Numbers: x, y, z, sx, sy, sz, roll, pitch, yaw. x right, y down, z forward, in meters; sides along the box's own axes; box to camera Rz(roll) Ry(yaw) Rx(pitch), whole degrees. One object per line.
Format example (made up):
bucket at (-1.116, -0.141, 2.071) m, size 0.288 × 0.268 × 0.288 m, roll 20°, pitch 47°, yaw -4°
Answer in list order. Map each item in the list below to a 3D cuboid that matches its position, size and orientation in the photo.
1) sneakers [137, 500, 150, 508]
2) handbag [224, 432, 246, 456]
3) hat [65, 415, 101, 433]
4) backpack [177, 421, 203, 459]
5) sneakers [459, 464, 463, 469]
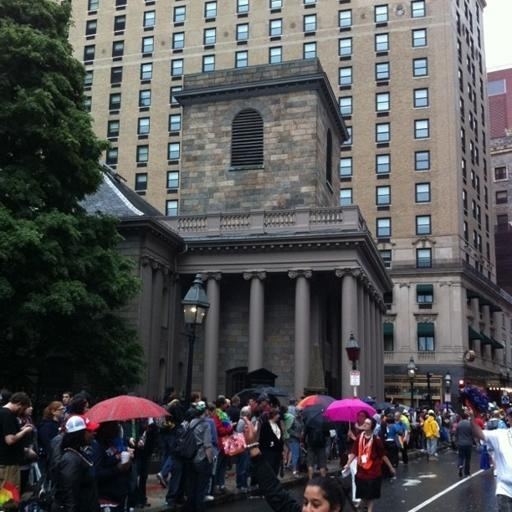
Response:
sneakers at (-2.224, 4.926, 17.206) m, size 0.175 × 0.152 × 0.555 m, roll -1°, pitch -14°, yaw 8°
handbag at (-0.482, 3.951, 18.312) m, size 0.470 × 0.484 × 1.188 m, roll 2°, pitch -14°, yaw -3°
hat at (-2.489, 2.423, 12.294) m, size 0.380 × 0.219 × 0.268 m, roll 4°, pitch 2°, yaw -34°
backpack at (-1.261, 3.550, 16.602) m, size 0.446 × 0.649 × 0.356 m, roll -19°, pitch -44°, yaw 31°
sneakers at (5.901, 6.028, 24.765) m, size 0.121 × 0.111 × 0.121 m, roll 5°, pitch -11°, yaw -24°
